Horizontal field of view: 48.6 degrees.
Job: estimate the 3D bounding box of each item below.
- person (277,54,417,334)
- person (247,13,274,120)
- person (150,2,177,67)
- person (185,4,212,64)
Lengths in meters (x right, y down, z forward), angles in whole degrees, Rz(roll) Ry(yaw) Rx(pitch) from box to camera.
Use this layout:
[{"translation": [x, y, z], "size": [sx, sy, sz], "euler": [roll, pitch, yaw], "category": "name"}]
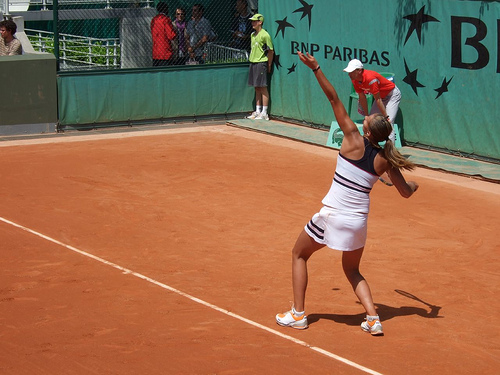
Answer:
[{"translation": [1.002, 0.119, 5.732], "size": [1.187, 2.870, 0.314], "euler": [3, 8, 4], "category": "person"}, {"translation": [0.298, -3.254, 15.128], "size": [0.686, 2.766, 0.794], "euler": [2, 9, 1], "category": "person"}, {"translation": [-2.271, -4.030, 14.635], "size": [0.685, 1.621, 0.310], "euler": [-1, 9, -20], "category": "person"}, {"translation": [-1.399, -4.207, 15.167], "size": [0.697, 1.491, 0.308], "euler": [0, 9, -13], "category": "person"}]
